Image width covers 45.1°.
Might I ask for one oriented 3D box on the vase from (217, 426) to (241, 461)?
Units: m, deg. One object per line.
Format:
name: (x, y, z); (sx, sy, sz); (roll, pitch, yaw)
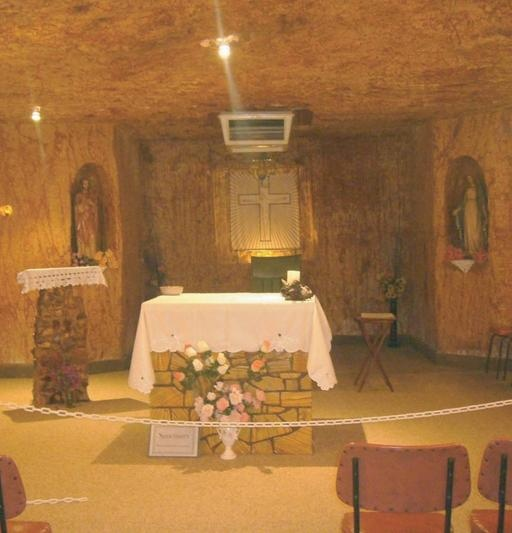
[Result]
vase: (-0.179, 1.115, 3.910); (0.195, 0.244, 0.183); (0, -4, -1)

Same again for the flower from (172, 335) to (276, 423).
flower: (-0.230, 0.735, 3.917); (0.600, 0.533, 0.248); (-2, 5, -7)

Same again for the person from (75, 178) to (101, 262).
person: (-1.747, -0.487, 6.391); (0.248, 0.846, 0.120); (-2, 5, -16)

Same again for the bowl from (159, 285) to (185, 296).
bowl: (-0.577, 0.168, 4.306); (0.140, 0.068, 0.169); (2, 5, 29)

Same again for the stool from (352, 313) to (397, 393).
stool: (1.045, 0.786, 5.619); (0.505, 0.678, 0.547); (1, 3, 19)
